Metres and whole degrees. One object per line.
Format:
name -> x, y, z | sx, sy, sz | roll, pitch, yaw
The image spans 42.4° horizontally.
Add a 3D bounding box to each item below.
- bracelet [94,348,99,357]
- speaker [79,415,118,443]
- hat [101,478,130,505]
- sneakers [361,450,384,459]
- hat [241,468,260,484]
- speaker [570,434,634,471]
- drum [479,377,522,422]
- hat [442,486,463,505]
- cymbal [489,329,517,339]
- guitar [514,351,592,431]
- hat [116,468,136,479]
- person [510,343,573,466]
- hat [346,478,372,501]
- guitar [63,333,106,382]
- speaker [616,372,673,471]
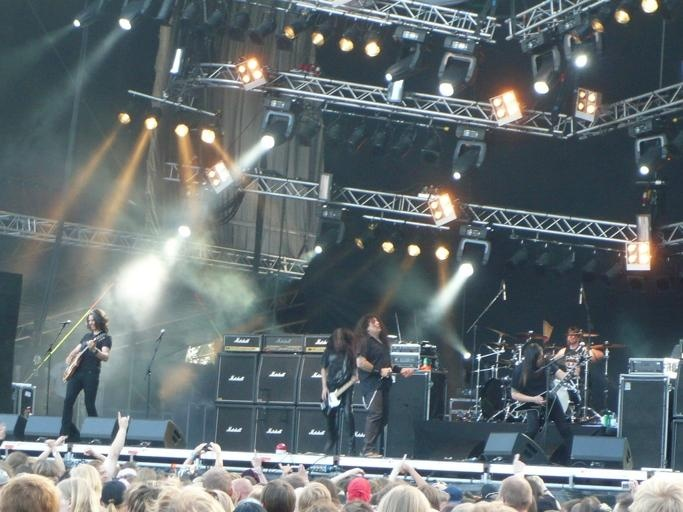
bracelet -> -3.536, 1.405, 12.825 | 0.100, 0.117, 0.095 | 2, -12, 3
speaker -> -3.482, 2.565, 12.977 | 0.497, 0.438, 0.396 | -2, -29, 15
hat -> -2.239, 2.370, 8.824 | 0.249, 0.257, 0.313 | 9, -14, -27
sneakers -> 0.454, 2.838, 12.566 | 0.297, 0.126, 0.106 | -7, -13, 28
hat -> -0.990, 2.445, 9.771 | 0.162, 0.209, 0.212 | 19, -16, -10
speaker -> 3.550, 2.667, 11.968 | 0.736, 0.480, 0.578 | -5, -1, 37
drum -> 2.699, 2.486, 15.074 | 0.762, 0.740, 0.741 | 3, -5, -31
hat -> 1.279, 2.750, 10.078 | 0.222, 0.219, 0.194 | -7, 10, -6
cymbal -> 3.078, 1.502, 16.993 | 0.297, 0.076, 0.318 | 16, -1, 15
guitar -> 3.205, 2.079, 13.414 | 1.052, 1.338, 0.389 | 19, -19, -39
hat -> -2.472, 2.523, 10.221 | 0.132, 0.073, 0.135 | 0, -2, 41
person -> 2.946, 2.128, 12.841 | 0.890, 0.628, 1.954 | -2, -52, 15
hat -> 0.187, 2.266, 8.550 | 0.210, 0.232, 0.313 | 4, -13, -7
guitar -> -3.743, 1.468, 12.851 | 0.590, 0.705, 0.189 | -1, -13, 15
speaker -> 4.443, 2.401, 12.695 | 0.808, 1.367, 0.784 | 0, -6, 26
